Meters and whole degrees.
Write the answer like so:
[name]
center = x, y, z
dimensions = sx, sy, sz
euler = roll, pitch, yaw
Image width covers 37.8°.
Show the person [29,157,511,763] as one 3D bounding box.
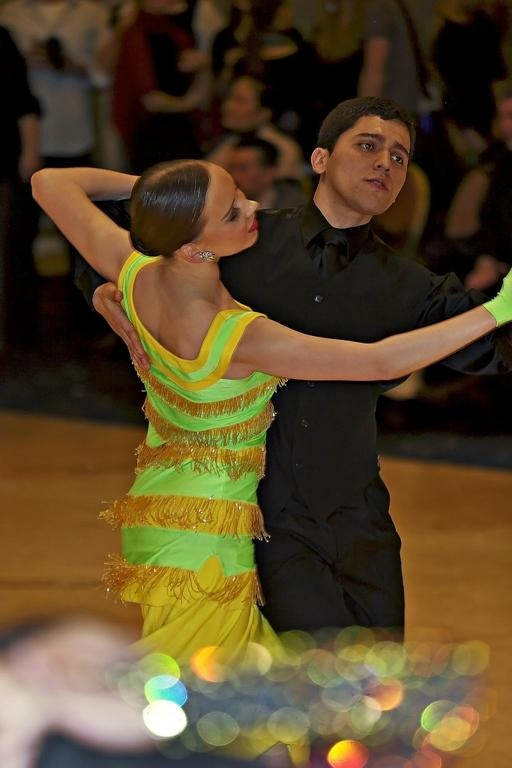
[person]
center = -0.102, 0.030, 1.492
dimensions = 0.892, 0.898, 0.551
euler = 14, 18, 37
